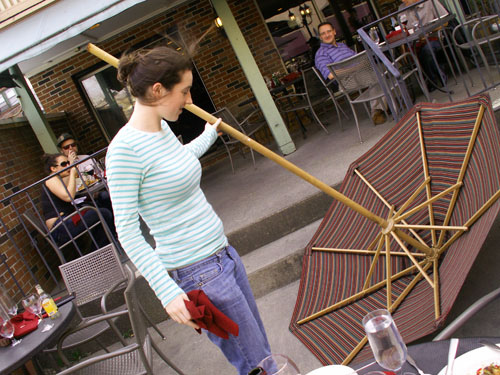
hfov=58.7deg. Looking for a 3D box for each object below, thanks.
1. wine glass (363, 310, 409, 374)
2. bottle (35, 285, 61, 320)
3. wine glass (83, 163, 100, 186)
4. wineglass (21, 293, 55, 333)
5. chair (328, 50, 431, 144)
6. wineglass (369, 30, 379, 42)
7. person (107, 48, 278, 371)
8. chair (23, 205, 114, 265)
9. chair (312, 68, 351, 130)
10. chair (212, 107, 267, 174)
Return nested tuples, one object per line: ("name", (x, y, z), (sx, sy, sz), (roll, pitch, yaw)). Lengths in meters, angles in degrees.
("wine glass", (0.579, 0.654, 1.892), (0.128, 0.218, 0.155), (-20, 15, 5))
("bottle", (-1.603, 0.913, 3.532), (0.136, 0.302, 0.137), (-28, 2, 1))
("wine glass", (-2.213, -0.182, 6.247), (0.135, 0.368, 0.296), (-2, 18, -38))
("wineglass", (-1.647, 0.978, 3.464), (0.127, 0.261, 0.535), (-30, 17, -28))
("chair", (1.476, -1.182, 5.563), (0.672, 1.121, 0.807), (-23, 1, 11))
("wineglass", (1.848, -2.251, 6.562), (0.107, 0.184, 0.468), (-16, 16, 20))
("person", (-0.347, 0.197, 2.357), (0.421, 1.854, 0.701), (-13, 17, 27))
("chair", (-2.197, 0.558, 5.362), (0.583, 0.837, 0.495), (-33, 23, -4))
("chair", (1.136, -1.395, 7.249), (0.616, 0.886, 0.485), (-23, 11, 47))
("chair", (-0.045, -0.870, 7.313), (0.824, 1.018, 0.803), (-32, 12, -17))
